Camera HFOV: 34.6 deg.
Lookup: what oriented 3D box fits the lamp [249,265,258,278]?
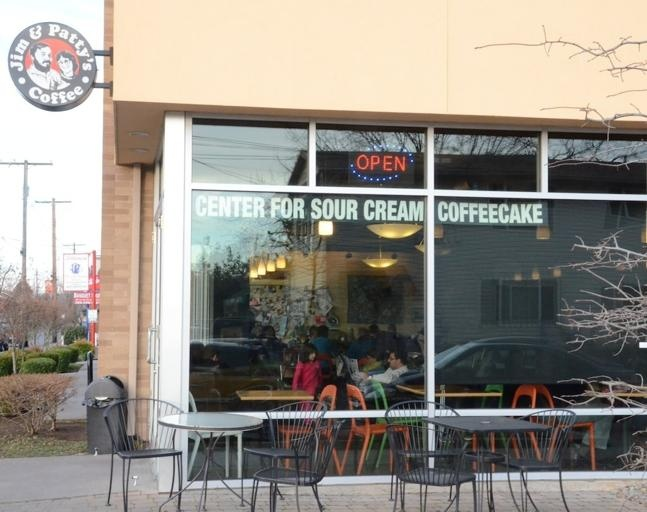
[{"bbox_3d":[-0.853,0.189,12.501,0.132,0.139,0.127,1,-4,-6],"label":"lamp"}]

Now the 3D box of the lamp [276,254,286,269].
[{"bbox_3d":[-0.510,0.071,12.632,0.156,0.165,0.149,4,-8,-44],"label":"lamp"}]

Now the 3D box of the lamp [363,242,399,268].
[{"bbox_3d":[0.707,-0.009,12.790,0.311,0.297,0.317,0,-6,28],"label":"lamp"}]

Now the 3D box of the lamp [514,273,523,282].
[{"bbox_3d":[2.430,0.259,13.020,0.094,0.088,0.093,1,-2,-10],"label":"lamp"}]

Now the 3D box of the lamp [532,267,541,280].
[{"bbox_3d":[2.639,0.213,13.049,0.130,0.213,0.127,1,-6,6],"label":"lamp"}]

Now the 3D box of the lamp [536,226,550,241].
[{"bbox_3d":[2.732,-0.292,13.181,0.182,0.179,0.173,1,-2,-20],"label":"lamp"}]

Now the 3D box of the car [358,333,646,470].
[{"bbox_3d":[2.247,1.785,13.328,3.489,1.090,1.426,2,-7,-4],"label":"car"}]

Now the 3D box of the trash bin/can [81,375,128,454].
[{"bbox_3d":[-3.002,2.164,14.338,0.650,0.932,0.699,1,1,-8],"label":"trash bin/can"}]

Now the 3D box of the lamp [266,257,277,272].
[{"bbox_3d":[-0.633,0.108,12.620,0.150,0.161,0.149,2,2,15],"label":"lamp"}]

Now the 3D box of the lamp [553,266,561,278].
[{"bbox_3d":[2.923,0.213,13.084,0.114,0.125,0.118,1,2,37],"label":"lamp"}]
